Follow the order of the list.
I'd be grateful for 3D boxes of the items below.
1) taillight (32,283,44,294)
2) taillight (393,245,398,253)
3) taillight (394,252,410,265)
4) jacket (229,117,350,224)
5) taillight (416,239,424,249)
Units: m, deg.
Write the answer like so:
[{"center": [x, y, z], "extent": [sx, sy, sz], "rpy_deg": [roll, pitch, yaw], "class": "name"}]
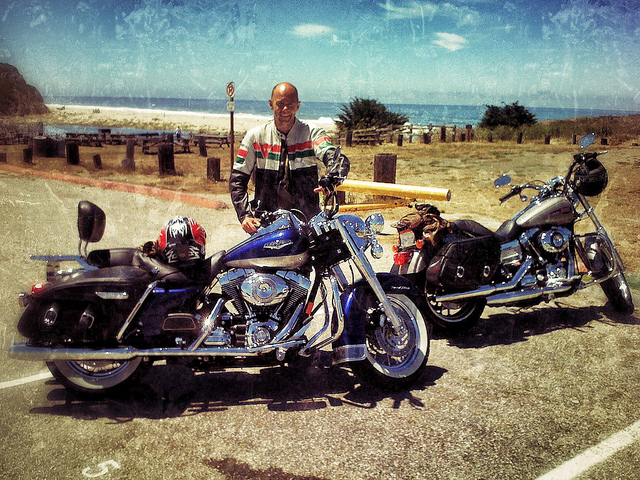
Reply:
[{"center": [-2.694, 0.466, 5.614], "extent": [0.147, 0.078, 0.082], "rpy_deg": [8, 14, 32], "class": "taillight"}, {"center": [0.831, 0.095, 6.535], "extent": [0.034, 0.067, 0.063], "rpy_deg": [-13, -12, 40], "class": "taillight"}, {"center": [0.906, 0.200, 6.546], "extent": [0.108, 0.086, 0.155], "rpy_deg": [2, 8, 5], "class": "taillight"}, {"center": [-0.357, -0.776, 6.469], "extent": [1.102, 1.196, 0.892], "rpy_deg": [3, 8, 7], "class": "jacket"}, {"center": [1.148, 0.044, 6.781], "extent": [0.092, 0.101, 0.024], "rpy_deg": [-7, -2, 22], "class": "taillight"}]
